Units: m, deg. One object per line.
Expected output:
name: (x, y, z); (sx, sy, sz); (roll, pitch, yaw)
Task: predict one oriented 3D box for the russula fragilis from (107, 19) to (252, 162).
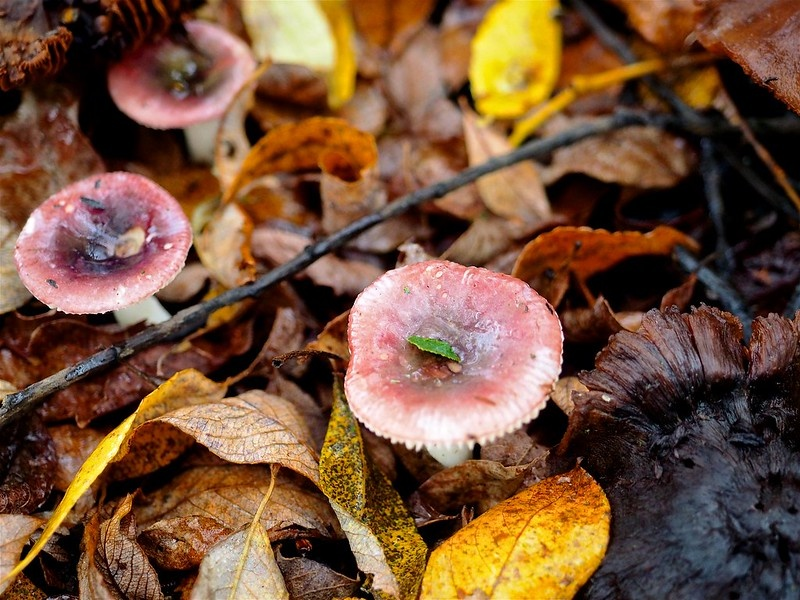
russula fragilis: (-0.897, -0.928, 3.924); (0.588, 0.140, 0.446); (-32, 72, -7)
